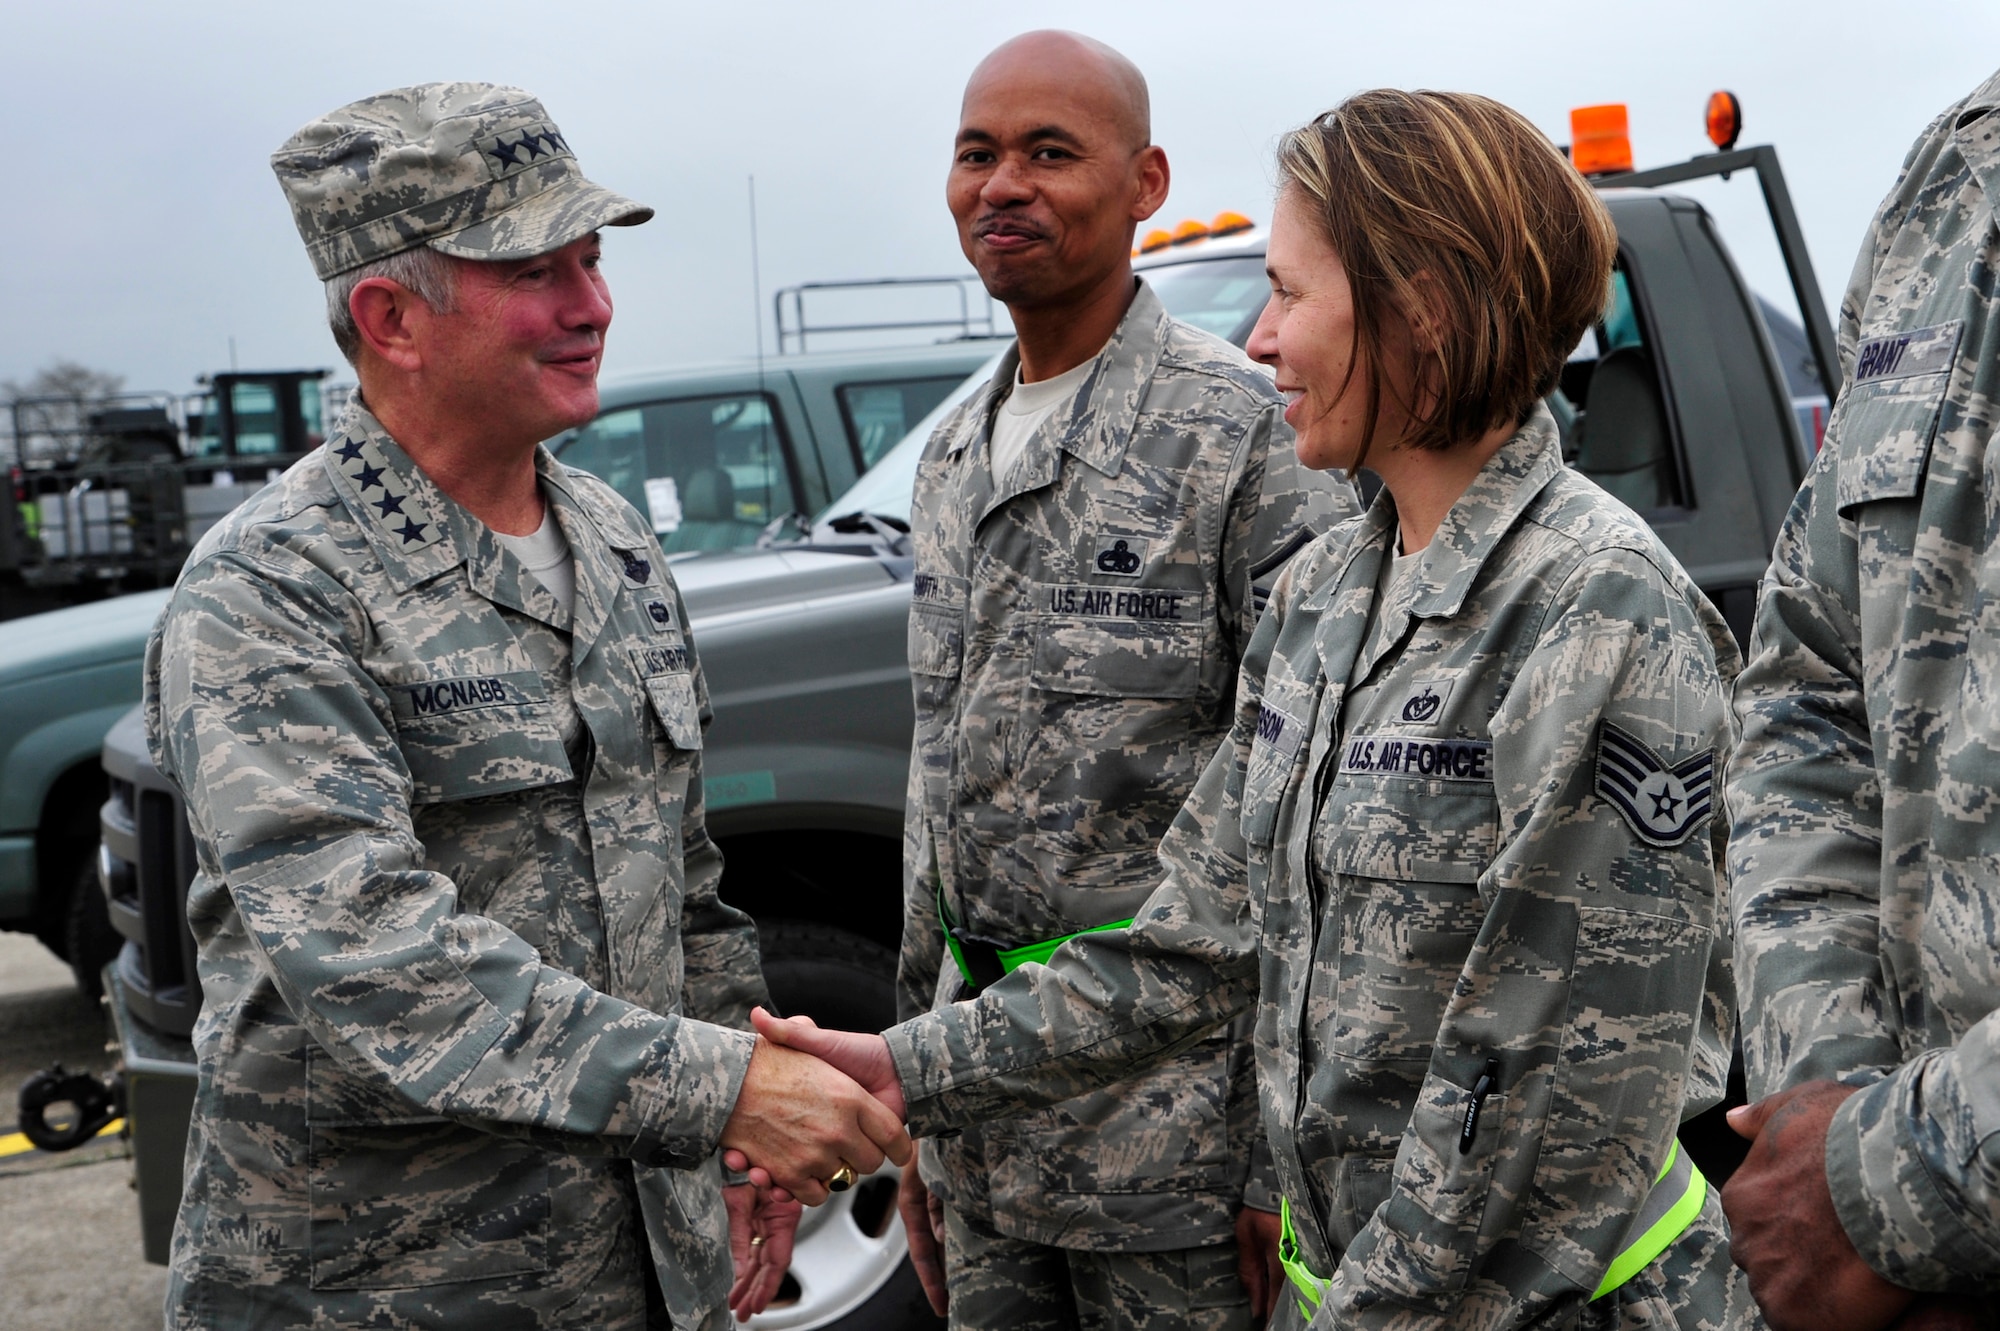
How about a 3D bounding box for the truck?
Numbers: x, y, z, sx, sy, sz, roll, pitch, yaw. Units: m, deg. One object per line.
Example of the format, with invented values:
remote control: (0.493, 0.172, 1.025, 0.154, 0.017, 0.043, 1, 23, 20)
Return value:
truck: (0.114, -0.018, 4.878, 4.347, 2.373, 2.421, 1, -1, -30)
